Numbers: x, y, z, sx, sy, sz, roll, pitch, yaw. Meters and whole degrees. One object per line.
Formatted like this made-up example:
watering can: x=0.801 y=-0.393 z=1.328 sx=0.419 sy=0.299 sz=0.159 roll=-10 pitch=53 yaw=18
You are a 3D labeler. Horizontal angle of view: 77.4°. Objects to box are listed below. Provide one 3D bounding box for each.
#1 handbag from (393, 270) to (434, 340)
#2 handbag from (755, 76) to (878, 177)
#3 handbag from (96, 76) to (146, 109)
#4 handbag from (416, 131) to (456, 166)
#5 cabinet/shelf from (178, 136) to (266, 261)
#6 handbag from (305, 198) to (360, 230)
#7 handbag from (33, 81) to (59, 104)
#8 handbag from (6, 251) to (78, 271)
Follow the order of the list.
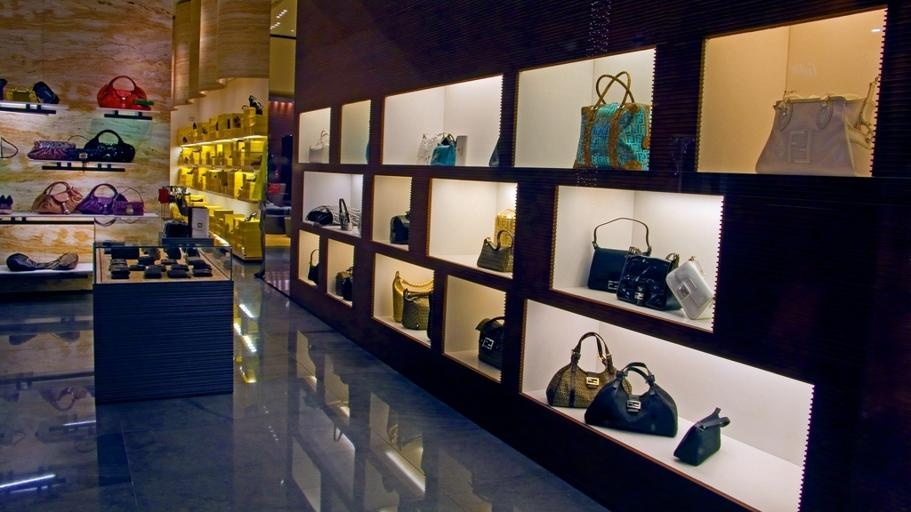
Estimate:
handbag: x=-0.491 y=0.535 z=6.200 sx=0.528 sy=0.582 sz=0.677 roll=1 pitch=1 yaw=-33
handbag: x=2.338 y=-0.824 z=3.608 sx=0.622 sy=0.527 sz=0.594 roll=-16 pitch=19 yaw=-27
handbag: x=-4.682 y=-2.305 z=8.071 sx=0.697 sy=0.417 sz=0.324 roll=3 pitch=27 yaw=-4
handbag: x=-0.204 y=-1.116 z=5.916 sx=0.238 sy=0.310 sz=0.562 roll=4 pitch=2 yaw=-27
cabinet/shelf: x=-5.773 y=-1.784 z=13.806 sx=0.818 sy=2.509 sz=7.319 roll=-6 pitch=16 yaw=-31
handbag: x=-1.679 y=-0.547 z=7.746 sx=0.724 sy=0.223 sz=0.492 roll=1 pitch=4 yaw=-19
handbag: x=-5.789 y=-2.298 z=7.988 sx=0.281 sy=0.287 sz=0.172 roll=-5 pitch=17 yaw=-29
handbag: x=-5.898 y=0.101 z=8.122 sx=0.659 sy=0.186 sz=0.390 roll=0 pitch=2 yaw=-41
